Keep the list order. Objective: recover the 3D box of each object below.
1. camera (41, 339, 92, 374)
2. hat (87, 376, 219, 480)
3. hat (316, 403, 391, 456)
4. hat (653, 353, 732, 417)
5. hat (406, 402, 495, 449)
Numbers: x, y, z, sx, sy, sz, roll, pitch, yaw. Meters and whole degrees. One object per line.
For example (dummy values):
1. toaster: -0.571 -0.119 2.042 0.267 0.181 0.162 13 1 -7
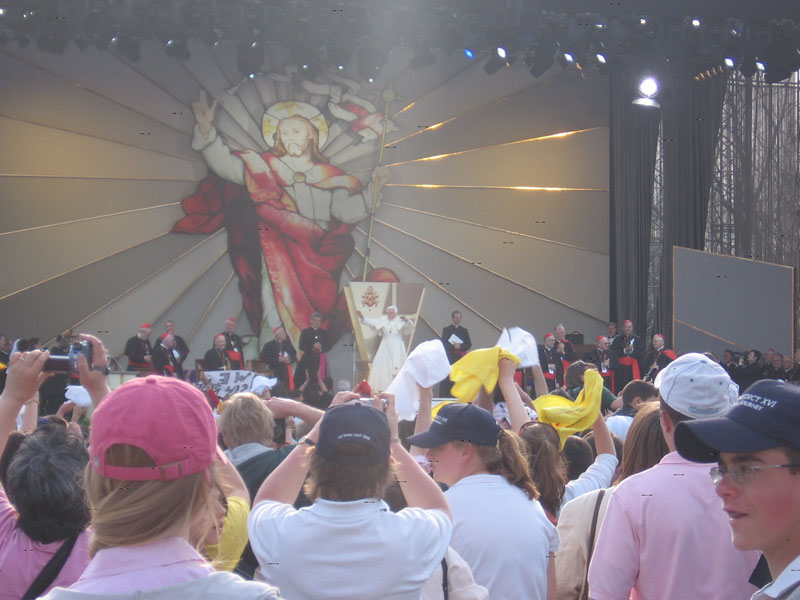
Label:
1. camera: -0.974 0.170 2.273 0.136 0.072 0.087 0 -4 -11
2. hat: -0.606 0.299 2.009 0.290 0.223 0.459 2 4 1
3. hat: -0.136 0.353 2.199 0.213 0.135 0.325 -2 -5 -2
4. hat: 1.031 0.273 2.699 0.252 0.138 0.356 0 0 8
5. hat: 0.190 0.433 2.677 0.328 0.157 0.215 2 -3 -2
